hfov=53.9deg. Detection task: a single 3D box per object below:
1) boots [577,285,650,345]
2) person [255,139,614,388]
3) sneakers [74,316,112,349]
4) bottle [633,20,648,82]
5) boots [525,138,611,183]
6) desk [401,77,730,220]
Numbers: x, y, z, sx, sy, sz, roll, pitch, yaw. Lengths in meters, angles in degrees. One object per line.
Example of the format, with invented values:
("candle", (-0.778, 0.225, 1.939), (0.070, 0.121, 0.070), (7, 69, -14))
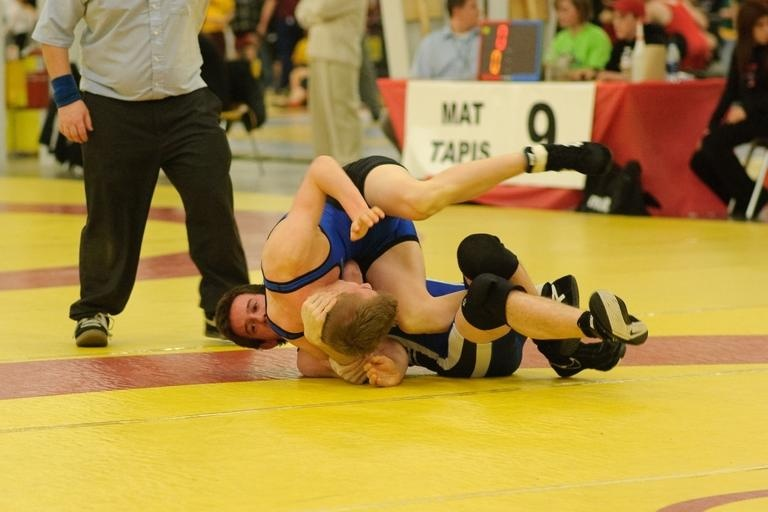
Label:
("boots", (0.863, 0.234, 2.893), (0.157, 0.164, 0.412), (-9, -27, 33))
("person", (0.278, 0.048, 3.187), (1.536, 0.908, 1.013), (1, 16, 17))
("sneakers", (-1.558, 0.390, 4.032), (0.185, 0.211, 0.493), (-1, -8, -17))
("bottle", (2.428, -1.948, 7.173), (0.123, 0.564, 0.318), (3, 14, 18))
("boots", (0.695, -0.375, 2.972), (0.357, 0.109, 0.132), (0, 39, 0))
("desk", (2.055, -1.598, 8.865), (2.765, 1.168, 3.647), (-8, 18, 2))
